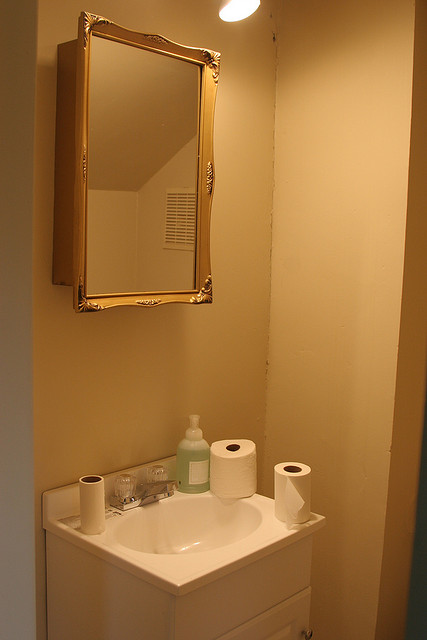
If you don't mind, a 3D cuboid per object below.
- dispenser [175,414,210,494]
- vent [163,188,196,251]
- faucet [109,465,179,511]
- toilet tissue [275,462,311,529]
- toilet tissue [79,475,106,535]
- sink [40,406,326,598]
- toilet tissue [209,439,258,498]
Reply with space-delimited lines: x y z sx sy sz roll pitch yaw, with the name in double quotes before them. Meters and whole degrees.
"dispenser" -0.054 0.350 1.409 0.068 0.211 0.080 3 3 34
"vent" -0.083 -0.239 1.289 0.012 0.191 0.114 4 4 38
"faucet" -0.150 0.392 1.281 0.150 0.081 0.142 -1 -28 -39
"toilet tissue" 0.174 0.388 1.211 0.083 0.119 0.096 3 3 37
"toilet tissue" -0.245 0.364 1.116 0.046 0.117 0.045 -6 16 -37
"sink" -0.061 0.398 1.200 0.446 0.291 0.524 4 4 44
"toilet tissue" 0.052 0.368 1.387 0.101 0.131 0.117 -14 18 -33
